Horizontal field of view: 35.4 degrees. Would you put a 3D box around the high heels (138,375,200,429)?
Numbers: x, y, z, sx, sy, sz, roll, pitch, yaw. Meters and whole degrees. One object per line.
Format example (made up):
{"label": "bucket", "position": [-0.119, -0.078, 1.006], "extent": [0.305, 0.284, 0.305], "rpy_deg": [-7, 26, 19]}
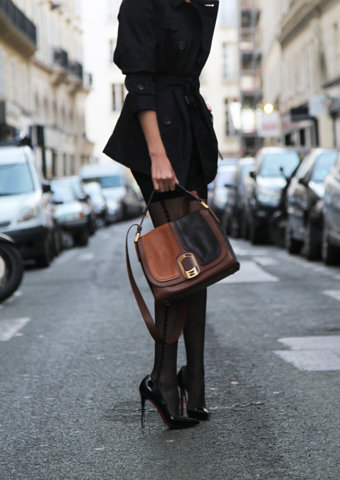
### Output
{"label": "high heels", "position": [0.005, 0.609, 2.003], "extent": [0.277, 0.191, 0.103], "rpy_deg": [12, -20, -17]}

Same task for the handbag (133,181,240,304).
{"label": "handbag", "position": [0.056, 0.023, 1.817], "extent": [0.338, 0.352, 0.209], "rpy_deg": [-2, 2, -5]}
